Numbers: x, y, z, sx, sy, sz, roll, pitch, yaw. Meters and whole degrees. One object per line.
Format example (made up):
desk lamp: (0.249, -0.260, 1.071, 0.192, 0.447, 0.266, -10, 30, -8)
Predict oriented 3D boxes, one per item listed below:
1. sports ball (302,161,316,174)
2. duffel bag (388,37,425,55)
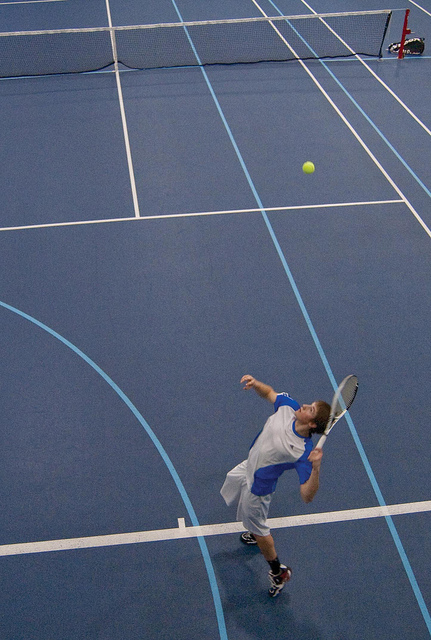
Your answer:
sports ball: (1.281, -2.109, 8.510, 0.160, 0.178, 0.157, -12, -9, -2)
duffel bag: (3.758, -5.321, 12.069, 0.486, 0.380, 0.134, 3, 39, 17)
